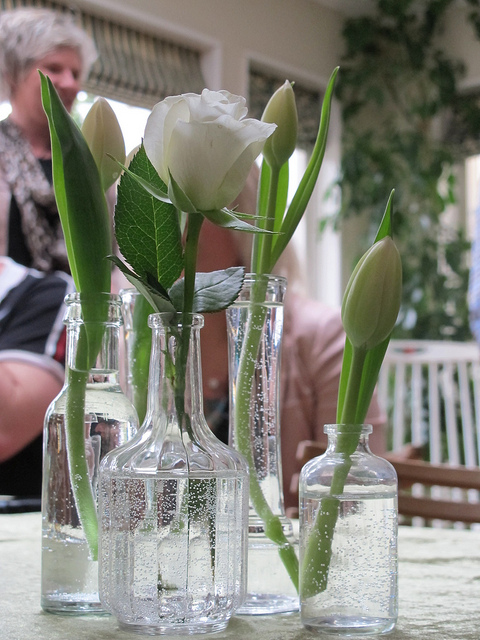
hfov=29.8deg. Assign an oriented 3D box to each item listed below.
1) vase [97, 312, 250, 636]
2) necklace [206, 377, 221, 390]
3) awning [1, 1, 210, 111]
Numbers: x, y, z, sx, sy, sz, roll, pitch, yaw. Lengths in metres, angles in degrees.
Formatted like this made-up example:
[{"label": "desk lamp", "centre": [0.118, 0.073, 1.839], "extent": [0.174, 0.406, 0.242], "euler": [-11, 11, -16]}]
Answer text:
[{"label": "vase", "centre": [-0.034, 0.075, 0.456], "extent": [0.073, 0.159, 0.034], "euler": [1, -1, -11]}, {"label": "necklace", "centre": [-0.058, 0.123, 1.797], "extent": [0.022, 0.029, 0.029], "euler": [1, -20, 0]}, {"label": "awning", "centre": [-0.336, -0.868, 3.110], "extent": [0.098, 0.259, 0.558], "euler": [0, -3, 45]}]
